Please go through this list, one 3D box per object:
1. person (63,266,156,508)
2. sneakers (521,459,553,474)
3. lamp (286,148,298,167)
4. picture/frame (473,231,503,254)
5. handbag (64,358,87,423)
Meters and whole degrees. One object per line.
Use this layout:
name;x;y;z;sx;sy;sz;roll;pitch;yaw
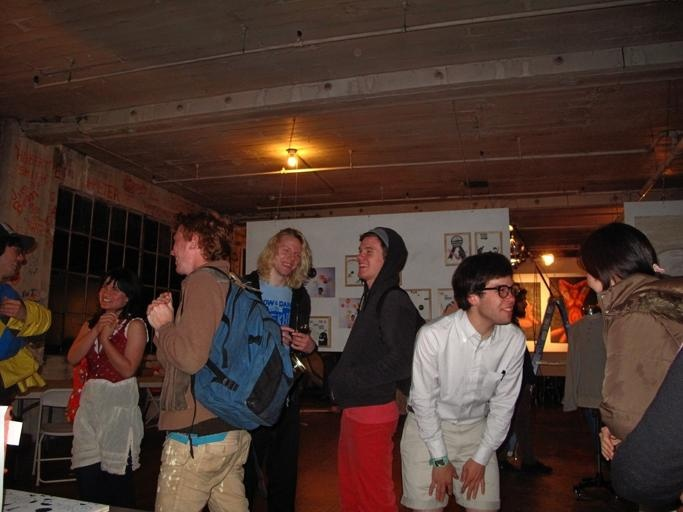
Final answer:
person;-1.720;0.921;3.976;0.580;1.689;0.341;-4;-11;19
sneakers;2.313;2.514;6.509;0.441;0.182;0.148;1;-5;1
lamp;-0.904;-1.737;9.380;0.222;0.307;0.235;1;3;15
picture/frame;2.200;-0.204;8.094;0.391;0.350;0.051;-1;-9;2
handbag;-2.025;1.022;4.136;0.135;0.485;0.352;5;-7;-35
